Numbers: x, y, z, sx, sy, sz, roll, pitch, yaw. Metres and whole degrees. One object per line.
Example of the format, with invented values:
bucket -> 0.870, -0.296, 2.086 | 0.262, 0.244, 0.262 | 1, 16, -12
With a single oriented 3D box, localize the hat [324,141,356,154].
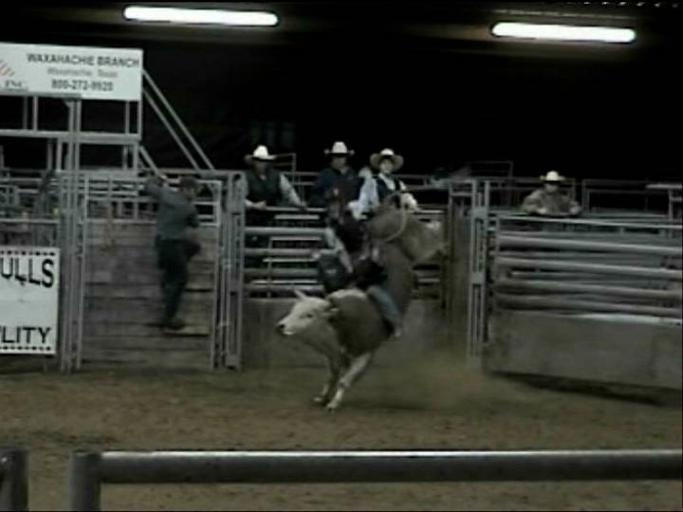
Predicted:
hat -> -0.009, -0.835, 9.305 | 0.230, 0.081, 0.232 | 0, -1, -2

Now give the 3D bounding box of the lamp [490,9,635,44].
lamp -> 1.155, -1.180, 6.006 | 0.813, 0.072, 0.157 | 5, -13, -9

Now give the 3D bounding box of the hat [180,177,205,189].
hat -> -1.210, -0.592, 9.506 | 0.158, 0.058, 0.199 | 0, 1, 11

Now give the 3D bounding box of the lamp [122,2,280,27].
lamp -> -0.650, -1.178, 5.666 | 1.039, 0.108, 0.136 | 1, 18, -2

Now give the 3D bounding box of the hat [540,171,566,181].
hat -> 1.743, -0.648, 9.533 | 0.258, 0.082, 0.246 | 1, 3, 10

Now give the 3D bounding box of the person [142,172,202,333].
person -> -1.378, -0.003, 9.624 | 0.438, 1.323, 0.358 | 0, 13, -8

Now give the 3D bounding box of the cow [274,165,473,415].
cow -> 0.136, 0.411, 8.593 | 0.661, 1.602, 1.372 | 8, 14, 25
